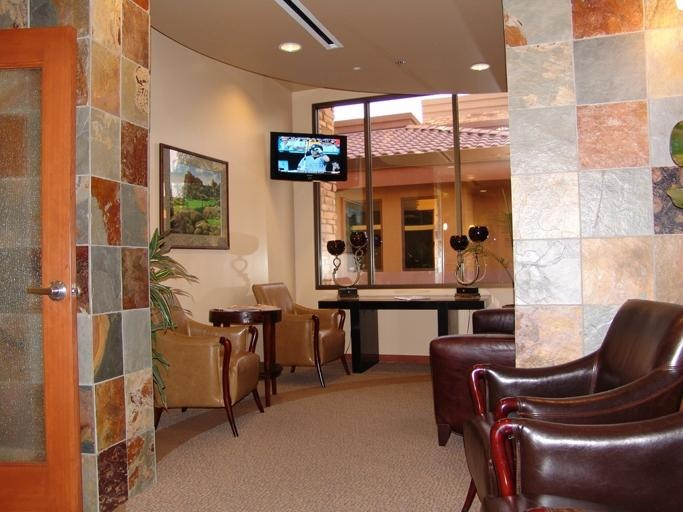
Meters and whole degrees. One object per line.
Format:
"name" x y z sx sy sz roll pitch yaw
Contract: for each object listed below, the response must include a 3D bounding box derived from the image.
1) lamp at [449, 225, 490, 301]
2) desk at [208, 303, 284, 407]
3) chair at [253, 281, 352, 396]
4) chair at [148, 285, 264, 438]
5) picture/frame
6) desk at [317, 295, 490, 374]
"lamp" 1.485 0.028 6.307 0.454 0.773 1.096 0 1 15
"desk" -0.783 0.874 5.220 0.780 0.992 0.786 -1 4 -4
"chair" -0.372 0.768 5.798 0.949 0.936 0.946 -2 -1 -27
"chair" -1.005 0.768 4.170 0.981 1.177 0.858 0 -1 8
"picture/frame" -1.447 -0.565 5.271 0.043 0.951 1.134 -3 -4 20
"desk" 0.718 0.893 6.200 1.714 0.850 0.682 -1 1 19
